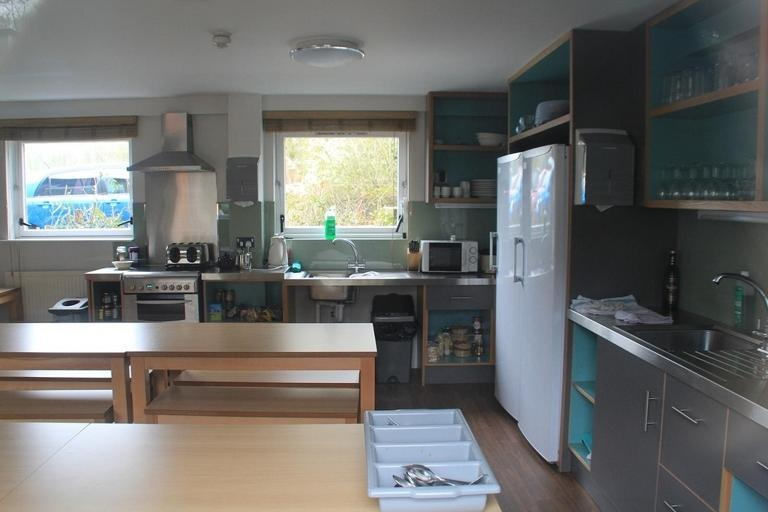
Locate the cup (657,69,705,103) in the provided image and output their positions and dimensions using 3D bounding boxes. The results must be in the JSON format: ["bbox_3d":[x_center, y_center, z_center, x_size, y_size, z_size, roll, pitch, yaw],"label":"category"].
[{"bbox_3d":[1.982,-1.111,3.936,0.164,0.195,0.291,-1,7,-18],"label":"cup"}]

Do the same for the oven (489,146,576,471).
[{"bbox_3d":[1.455,0.337,4.916,0.790,2.310,1.427,0,5,-4],"label":"oven"}]

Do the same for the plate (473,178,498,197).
[{"bbox_3d":[1.031,-0.704,6.081,0.195,0.127,0.196,3,4,30],"label":"plate"}]

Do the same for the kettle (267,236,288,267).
[{"bbox_3d":[-1.116,-0.035,6.234,0.235,0.318,0.223,5,6,41],"label":"kettle"}]

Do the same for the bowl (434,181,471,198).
[{"bbox_3d":[0.706,-0.679,6.146,0.383,0.177,0.185,0,5,4],"label":"bowl"}]

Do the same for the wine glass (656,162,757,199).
[{"bbox_3d":[2.060,-0.477,3.819,0.191,0.239,0.731,-1,5,-8],"label":"wine glass"}]

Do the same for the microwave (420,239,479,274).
[{"bbox_3d":[0.630,0.009,5.893,0.509,0.303,0.338,0,1,-5],"label":"microwave"}]

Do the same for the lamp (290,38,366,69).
[{"bbox_3d":[-0.460,-1.636,4.776,0.611,0.129,0.396,-1,5,-4],"label":"lamp"}]

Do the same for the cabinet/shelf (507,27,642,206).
[{"bbox_3d":[1.451,-1.026,4.408,0.410,1.034,1.264,-1,5,-1],"label":"cabinet/shelf"}]

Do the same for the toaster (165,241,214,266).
[{"bbox_3d":[-2.038,-0.015,6.258,0.381,0.189,0.279,0,7,-4],"label":"toaster"}]

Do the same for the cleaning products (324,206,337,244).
[{"bbox_3d":[-0.587,-0.351,6.442,0.145,0.372,0.253,-1,5,-7],"label":"cleaning products"}]

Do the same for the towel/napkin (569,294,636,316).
[{"bbox_3d":[1.581,0.350,4.215,0.272,0.055,0.213,-2,5,-13],"label":"towel/napkin"}]

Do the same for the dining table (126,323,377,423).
[{"bbox_3d":[-0.887,0.991,4.123,1.474,0.983,0.799,2,8,-5],"label":"dining table"}]

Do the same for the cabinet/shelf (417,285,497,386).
[{"bbox_3d":[0.735,0.743,6.040,0.717,0.993,0.640,0,5,1],"label":"cabinet/shelf"}]

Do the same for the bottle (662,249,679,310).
[{"bbox_3d":[2.060,0.190,4.230,0.096,0.431,0.116,2,6,25],"label":"bottle"}]

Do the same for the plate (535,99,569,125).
[{"bbox_3d":[1.317,-1.130,4.624,0.215,0.128,0.213,1,6,13],"label":"plate"}]

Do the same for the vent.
[{"bbox_3d":[-2.234,-1.220,6.351,0.922,0.605,0.942,6,12,11],"label":"vent"}]

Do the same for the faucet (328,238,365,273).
[{"bbox_3d":[-0.400,-0.009,6.297,0.382,0.357,0.268,0,5,0],"label":"faucet"}]

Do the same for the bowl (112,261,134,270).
[{"bbox_3d":[-2.735,0.092,6.176,0.183,0.087,0.176,0,5,0],"label":"bowl"}]

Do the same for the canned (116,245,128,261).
[{"bbox_3d":[-2.794,-0.030,6.309,0.159,0.154,0.156,-2,7,-8],"label":"canned"}]

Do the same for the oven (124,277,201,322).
[{"bbox_3d":[-2.240,0.313,6.035,0.685,0.655,0.464,0,2,-5],"label":"oven"}]
